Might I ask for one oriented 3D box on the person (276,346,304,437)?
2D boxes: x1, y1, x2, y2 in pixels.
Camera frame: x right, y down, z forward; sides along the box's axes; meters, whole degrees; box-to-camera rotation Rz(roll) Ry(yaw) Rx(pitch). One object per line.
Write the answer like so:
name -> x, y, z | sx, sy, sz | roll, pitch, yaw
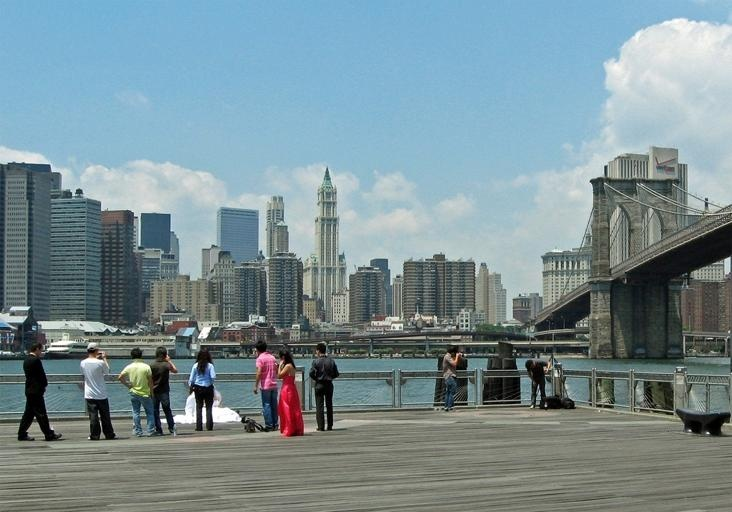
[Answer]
person -> -3.561, 6.563, 66.767 | 1.070, 4.060, 0.996 | -1, -8, -10
